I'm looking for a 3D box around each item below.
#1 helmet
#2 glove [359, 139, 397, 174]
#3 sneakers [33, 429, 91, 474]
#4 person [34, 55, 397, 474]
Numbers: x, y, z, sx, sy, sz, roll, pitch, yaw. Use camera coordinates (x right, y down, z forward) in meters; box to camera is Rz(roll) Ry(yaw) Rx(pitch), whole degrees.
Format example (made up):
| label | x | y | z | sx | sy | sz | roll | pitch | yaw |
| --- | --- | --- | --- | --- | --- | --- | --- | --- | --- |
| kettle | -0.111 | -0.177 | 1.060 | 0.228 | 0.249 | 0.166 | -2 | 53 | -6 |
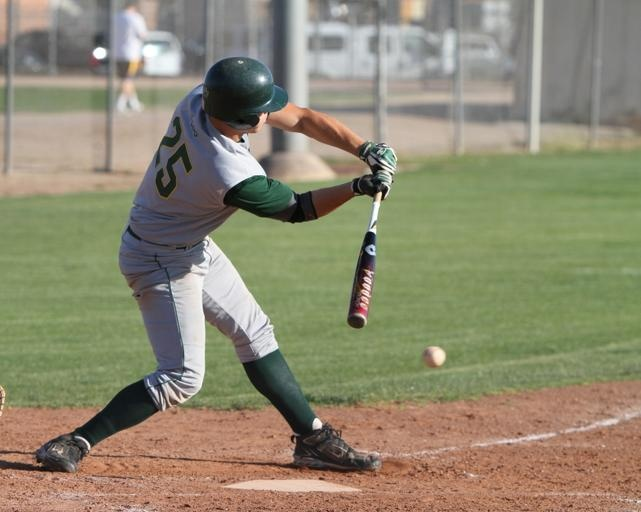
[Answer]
| label | x | y | z | sx | sy | sz | roll | pitch | yaw |
| --- | --- | --- | --- | --- | --- | --- | --- | --- | --- |
| helmet | -0.402 | -0.810 | 6.285 | 0.453 | 0.265 | 0.227 | 0 | -31 | -16 |
| glove | 0.304 | -0.505 | 6.692 | 0.129 | 0.102 | 0.222 | 26 | 17 | -39 |
| sneakers | -1.296 | 0.982 | 6.485 | 0.220 | 0.140 | 0.298 | -30 | -9 | 10 |
| person | -0.523 | 0.069 | 6.521 | 1.743 | 2.121 | 0.649 | -1 | 8 | -10 |
